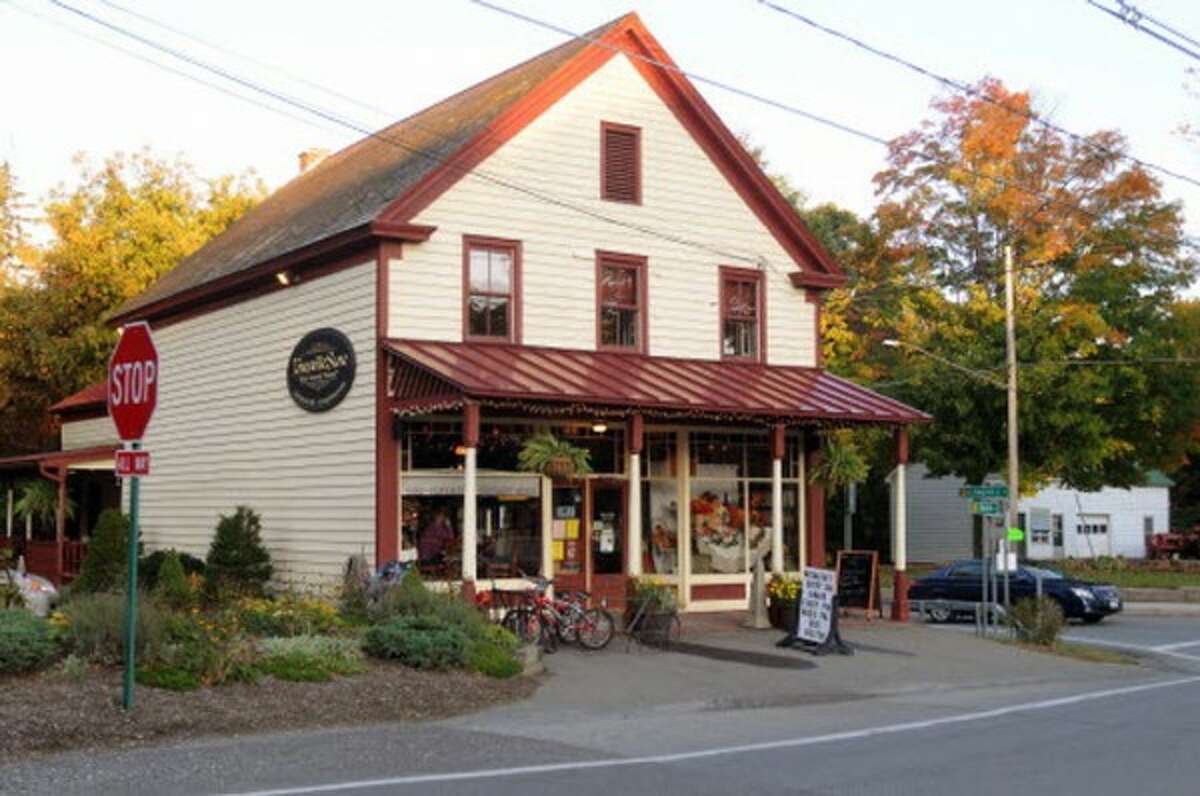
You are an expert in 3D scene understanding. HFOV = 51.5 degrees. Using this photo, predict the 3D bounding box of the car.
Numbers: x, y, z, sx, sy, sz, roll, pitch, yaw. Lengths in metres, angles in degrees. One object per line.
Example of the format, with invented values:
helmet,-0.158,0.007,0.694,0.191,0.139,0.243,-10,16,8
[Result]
car,11.572,5.432,34.979,5.313,1.748,2.220,-1,-12,13

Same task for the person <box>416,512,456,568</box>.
person,-3.463,3.046,26.648,0.762,1.218,0.637,11,-19,-25

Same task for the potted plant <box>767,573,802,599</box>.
potted plant,4.105,4.172,27.587,0.698,0.534,0.552,0,-11,10

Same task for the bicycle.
bicycle,-0.956,4.420,25.354,2.279,1.363,1.143,6,-16,-24

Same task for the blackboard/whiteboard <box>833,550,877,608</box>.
blackboard/whiteboard,6.128,4.318,29.654,0.934,1.386,0.820,3,12,28

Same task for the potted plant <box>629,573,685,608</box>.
potted plant,1.167,4.028,25.709,1.101,0.751,1.167,1,3,9

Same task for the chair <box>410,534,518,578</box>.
chair,-3.042,3.507,27.073,1.281,0.843,1.262,6,-11,-43

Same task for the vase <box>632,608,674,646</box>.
vase,1.102,4.695,25.500,0.668,0.541,0.708,-1,-10,10

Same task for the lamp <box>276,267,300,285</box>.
lamp,-7.315,-2.731,28.998,0.406,0.249,0.746,8,-14,-27

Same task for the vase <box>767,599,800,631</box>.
vase,4.023,4.769,27.395,0.268,0.680,0.784,10,-14,-37

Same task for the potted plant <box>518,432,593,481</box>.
potted plant,-0.924,1.365,27.342,1.065,0.537,1.121,-3,-17,18
